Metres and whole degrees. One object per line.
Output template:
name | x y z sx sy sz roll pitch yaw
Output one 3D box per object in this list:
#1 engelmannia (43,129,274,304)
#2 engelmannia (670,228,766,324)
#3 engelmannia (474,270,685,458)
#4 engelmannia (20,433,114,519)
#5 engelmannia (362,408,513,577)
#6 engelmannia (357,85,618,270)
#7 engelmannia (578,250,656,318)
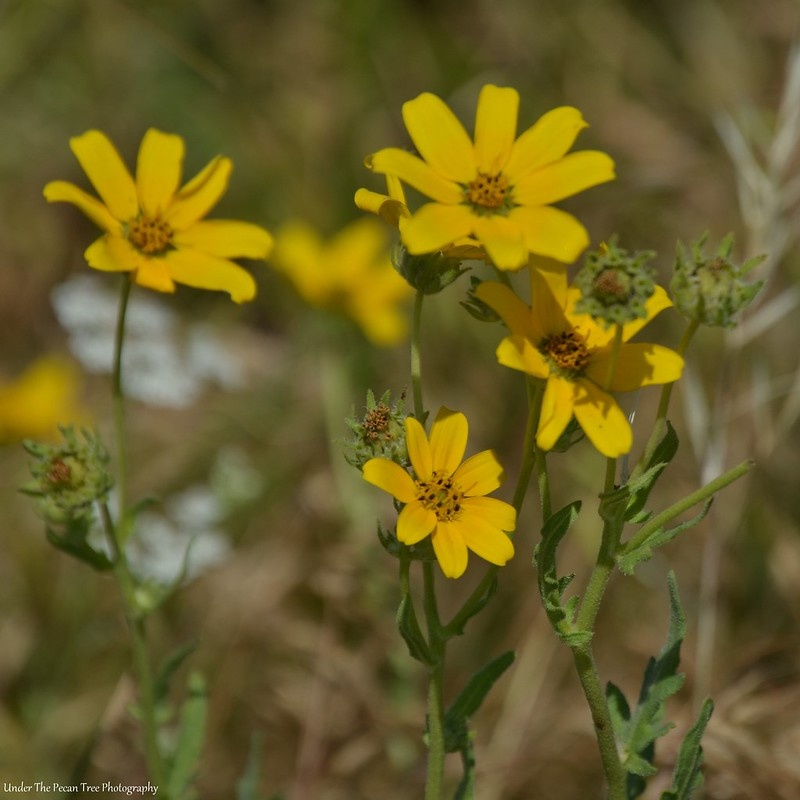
engelmannia | -0.403 -0.291 1.722 0.346 0.419 0.148 0 47 1
engelmannia | 0.470 -0.180 1.643 0.122 0.097 0.145 20 63 0
engelmannia | 0.267 -0.055 1.606 0.309 0.269 0.254 0 17 3
engelmannia | -0.510 0.100 1.699 0.123 0.136 0.071 -32 -9 16
engelmannia | 0.061 0.137 1.609 0.232 0.211 0.169 -3 17 -8
engelmannia | 0.139 -0.329 1.616 0.297 0.332 0.096 22 -21 5
engelmannia | 0.305 -0.164 1.528 0.108 0.117 0.085 2 17 10
